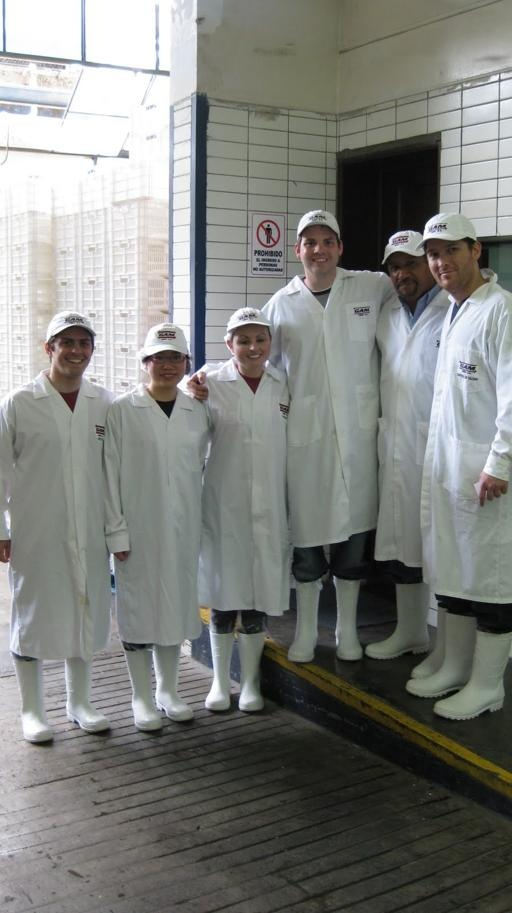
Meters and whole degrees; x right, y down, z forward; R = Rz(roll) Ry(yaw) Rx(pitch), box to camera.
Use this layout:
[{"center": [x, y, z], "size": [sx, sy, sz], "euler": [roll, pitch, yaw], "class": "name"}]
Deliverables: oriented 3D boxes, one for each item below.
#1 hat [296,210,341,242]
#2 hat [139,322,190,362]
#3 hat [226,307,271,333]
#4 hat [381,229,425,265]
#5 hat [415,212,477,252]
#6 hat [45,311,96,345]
[{"center": [0.227, -0.867, 3.082], "size": [0.170, 0.119, 0.273], "euler": [-1, 0, -3], "class": "hat"}, {"center": [-0.336, -0.411, 2.943], "size": [0.182, 0.136, 0.142], "euler": [-1, 5, 0], "class": "hat"}, {"center": [-0.039, -0.518, 3.024], "size": [0.141, 0.101, 0.224], "euler": [-5, -2, -8], "class": "hat"}, {"center": [0.529, -0.734, 2.878], "size": [0.102, 0.072, 0.141], "euler": [-6, 4, 28], "class": "hat"}, {"center": [0.615, -0.735, 2.631], "size": [0.138, 0.112, 0.157], "euler": [-4, 6, -23], "class": "hat"}, {"center": [-0.653, -0.459, 2.886], "size": [0.161, 0.115, 0.149], "euler": [-3, 5, -14], "class": "hat"}]
